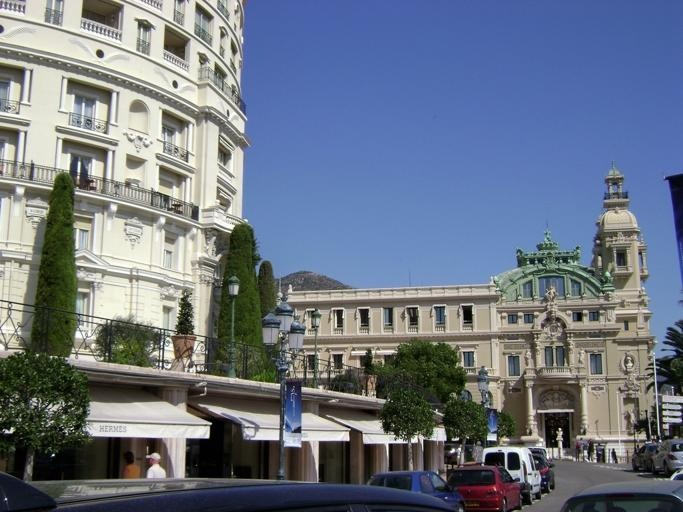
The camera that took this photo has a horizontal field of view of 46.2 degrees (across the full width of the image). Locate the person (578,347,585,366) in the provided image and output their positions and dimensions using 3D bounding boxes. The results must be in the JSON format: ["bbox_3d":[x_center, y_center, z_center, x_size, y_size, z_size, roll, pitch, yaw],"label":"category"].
[{"bbox_3d":[26.485,11.184,88.335,0.782,1.859,0.406,-4,-14,17],"label":"person"}]

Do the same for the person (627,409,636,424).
[{"bbox_3d":[31.320,17.405,86.508,1.040,1.430,0.370,1,-14,-4],"label":"person"}]

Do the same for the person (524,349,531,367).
[{"bbox_3d":[20.847,11.425,89.438,0.826,1.803,0.447,-2,-14,9],"label":"person"}]
